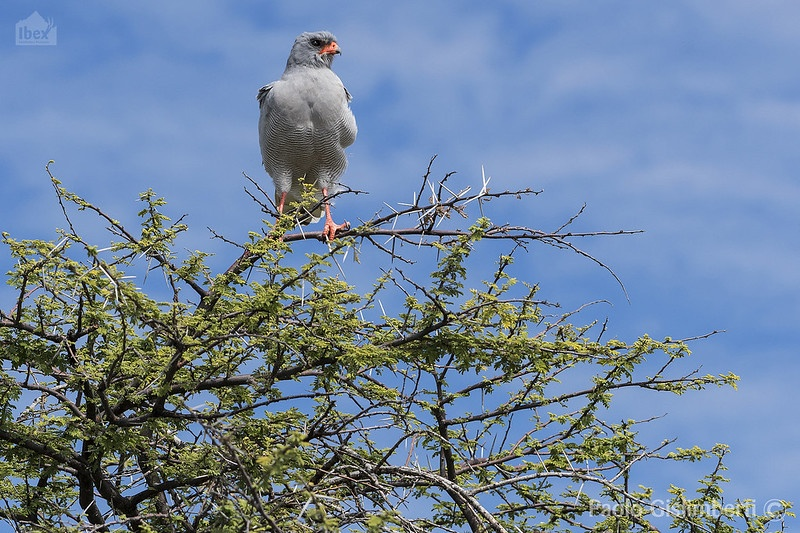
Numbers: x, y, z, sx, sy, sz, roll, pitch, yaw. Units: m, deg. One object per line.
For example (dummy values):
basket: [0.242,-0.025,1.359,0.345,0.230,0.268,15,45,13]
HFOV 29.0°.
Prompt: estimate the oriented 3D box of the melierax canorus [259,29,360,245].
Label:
melierax canorus: [-1.144,-1.209,19.531,1.283,4.774,2.169,0,-51,-4]
